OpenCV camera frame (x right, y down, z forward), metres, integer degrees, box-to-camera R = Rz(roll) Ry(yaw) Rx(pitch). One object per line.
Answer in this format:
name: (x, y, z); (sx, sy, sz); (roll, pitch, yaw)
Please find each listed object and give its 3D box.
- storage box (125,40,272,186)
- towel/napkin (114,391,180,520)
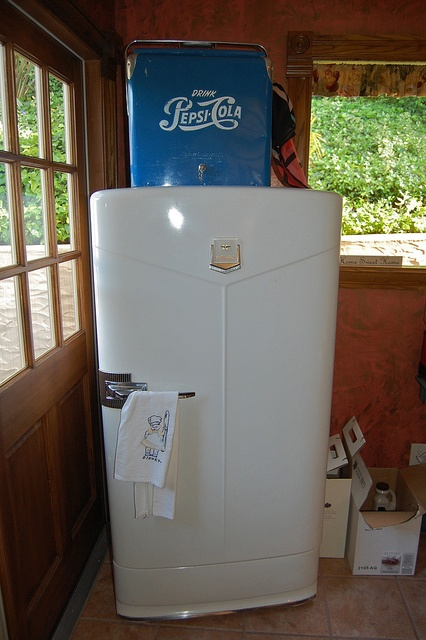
storage box: (-0.041, -0.505, 1.360); (0.399, 0.545, 0.182); (-2, -19, -1)
towel/napkin: (-0.170, 0.368, 1.221); (0.153, 0.383, 0.116); (5, 10, 22)
